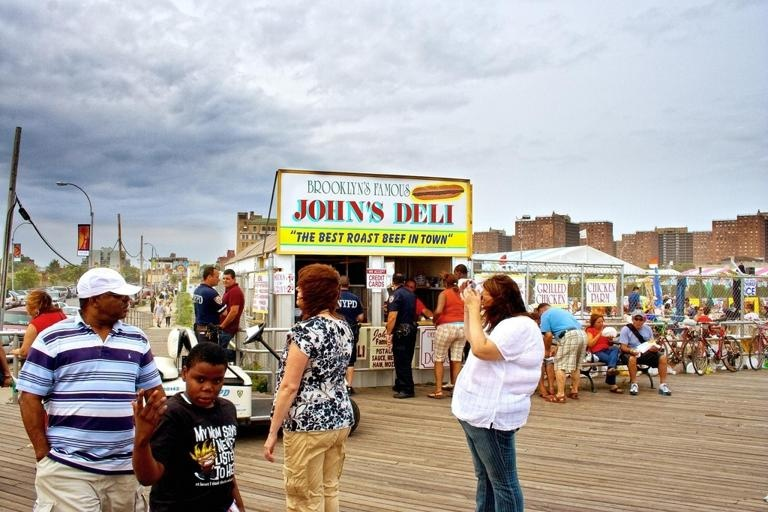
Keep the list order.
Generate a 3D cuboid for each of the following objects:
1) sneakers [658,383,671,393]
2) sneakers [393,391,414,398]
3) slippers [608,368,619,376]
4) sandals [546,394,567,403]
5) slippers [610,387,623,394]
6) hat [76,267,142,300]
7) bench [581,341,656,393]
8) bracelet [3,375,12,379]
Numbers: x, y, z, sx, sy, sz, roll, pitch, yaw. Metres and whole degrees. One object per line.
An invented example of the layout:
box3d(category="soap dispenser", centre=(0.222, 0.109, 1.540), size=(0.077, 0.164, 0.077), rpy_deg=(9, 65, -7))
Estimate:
box3d(category="sneakers", centre=(5.992, 2.876, 12.174), size=(0.156, 0.154, 0.370), rpy_deg=(-3, -13, 12))
box3d(category="sneakers", centre=(0.392, 2.794, 11.341), size=(0.318, 0.129, 0.158), rpy_deg=(5, -6, -7))
box3d(category="slippers", centre=(5.074, 2.549, 12.508), size=(0.248, 0.116, 0.105), rpy_deg=(2, 11, -17))
box3d(category="sandals", centre=(3.387, 2.842, 11.240), size=(0.309, 0.140, 0.139), rpy_deg=(5, -7, -10))
box3d(category="slippers", centre=(5.033, 2.932, 12.338), size=(0.129, 0.080, 0.248), rpy_deg=(-1, -7, -7))
box3d(category="hat", centre=(-2.183, 0.210, 4.517), size=(0.429, 0.214, 0.305), rpy_deg=(1, 4, -20))
box3d(category="bench", centre=(5.394, 2.545, 13.078), size=(1.757, 0.947, 0.731), rpy_deg=(4, 4, -25))
box3d(category="bracelet", centre=(-3.979, 1.286, 6.004), size=(0.076, 0.025, 0.080), rpy_deg=(-3, -3, 12))
